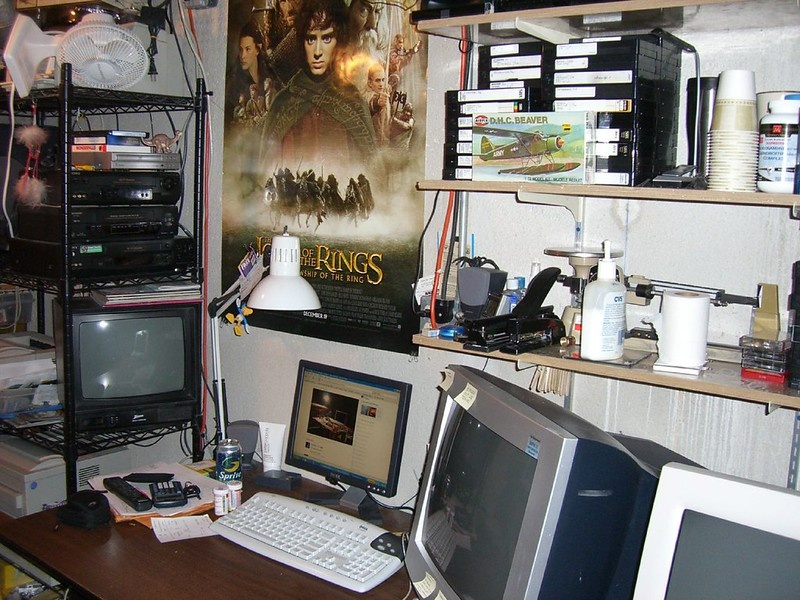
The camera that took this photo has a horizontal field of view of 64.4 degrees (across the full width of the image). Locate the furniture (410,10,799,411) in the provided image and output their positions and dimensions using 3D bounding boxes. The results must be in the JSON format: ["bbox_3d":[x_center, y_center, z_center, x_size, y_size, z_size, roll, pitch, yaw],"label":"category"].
[{"bbox_3d":[0.570,-0.227,1.657,1.119,0.995,0.361,7,13,39],"label":"furniture"}]

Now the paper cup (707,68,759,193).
[{"bbox_3d":[0.781,-0.389,1.469,0.112,0.273,0.089,3,9,10],"label":"paper cup"}]

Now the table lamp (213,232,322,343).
[{"bbox_3d":[-0.476,-0.041,2.270,0.422,0.376,0.311,3,6,24],"label":"table lamp"}]

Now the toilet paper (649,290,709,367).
[{"bbox_3d":[0.713,0.075,1.599,0.114,0.180,0.172,5,10,25],"label":"toilet paper"}]

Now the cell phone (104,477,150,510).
[{"bbox_3d":[-0.901,0.631,2.091,0.073,0.050,0.247,-9,19,-38],"label":"cell phone"}]

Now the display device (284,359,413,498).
[{"bbox_3d":[-0.166,0.446,2.178,0.440,0.386,0.115,11,3,32],"label":"display device"}]
